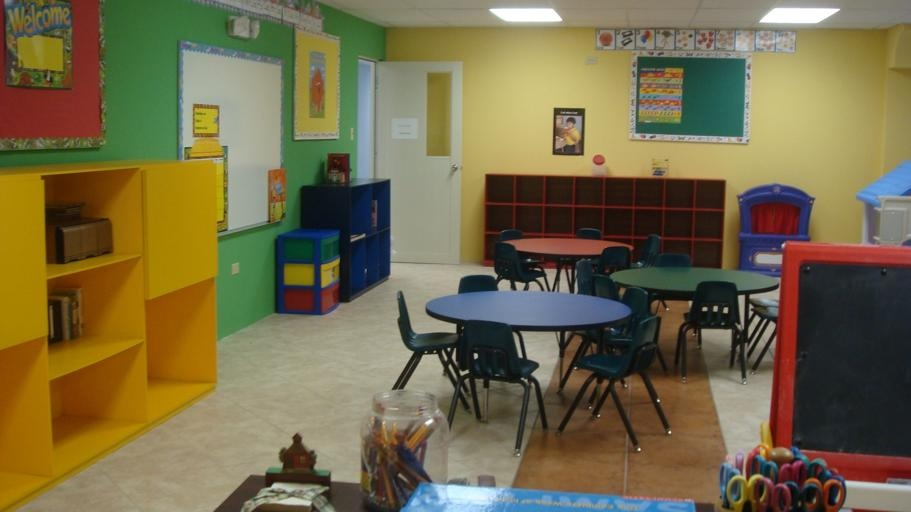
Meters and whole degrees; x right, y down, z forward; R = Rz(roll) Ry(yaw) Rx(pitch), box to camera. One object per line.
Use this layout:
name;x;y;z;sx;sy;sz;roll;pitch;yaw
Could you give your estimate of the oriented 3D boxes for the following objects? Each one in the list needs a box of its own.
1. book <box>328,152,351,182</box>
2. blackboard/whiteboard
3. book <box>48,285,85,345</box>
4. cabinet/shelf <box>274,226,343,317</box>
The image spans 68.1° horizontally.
book;-1.712;-1.285;10.080;0.397;0.482;0.423;0;5;2
blackboard/whiteboard;4.180;-2.809;11.702;1.864;1.211;0.025;1;4;6
book;-3.298;0.506;5.709;0.281;0.440;0.176;-6;14;-28
cabinet/shelf;-2.117;0.257;9.493;0.851;0.967;1.108;1;1;-3
